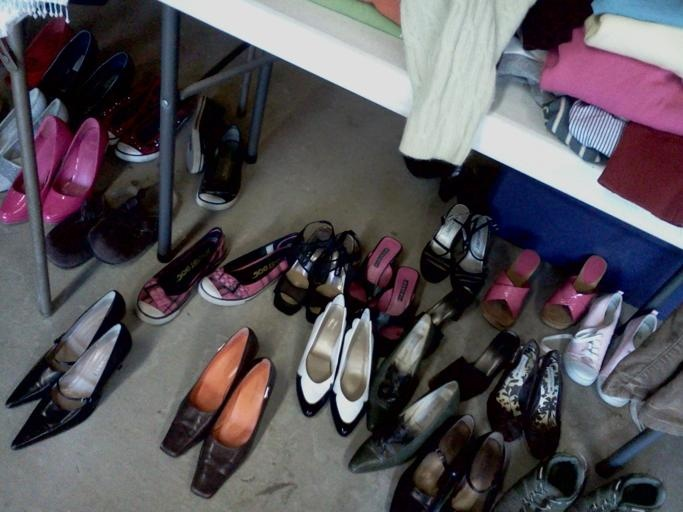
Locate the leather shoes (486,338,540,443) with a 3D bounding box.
[{"bbox_3d":[0.497,0.378,1.650,0.104,0.282,0.073,19,-11,26],"label":"leather shoes"}]

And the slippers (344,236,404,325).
[{"bbox_3d":[0.104,0.062,1.780,0.106,0.069,0.285,26,64,17],"label":"slippers"}]

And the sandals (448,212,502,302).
[{"bbox_3d":[0.414,0.008,1.817,0.104,0.305,0.073,14,-2,10],"label":"sandals"}]

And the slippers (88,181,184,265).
[{"bbox_3d":[-0.626,-0.091,1.752,0.149,0.078,0.331,40,56,-11],"label":"slippers"}]

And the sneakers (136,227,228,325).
[{"bbox_3d":[-0.459,0.070,1.701,0.135,0.124,0.372,39,62,5],"label":"sneakers"}]

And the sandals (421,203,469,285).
[{"bbox_3d":[0.328,-0.024,1.880,0.103,0.289,0.064,25,9,12],"label":"sandals"}]

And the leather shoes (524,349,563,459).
[{"bbox_3d":[0.575,0.391,1.611,0.105,0.091,0.322,-4,28,30],"label":"leather shoes"}]

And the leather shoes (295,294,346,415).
[{"bbox_3d":[-0.052,0.271,1.564,0.106,0.356,0.099,17,-11,7],"label":"leather shoes"}]

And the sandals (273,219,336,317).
[{"bbox_3d":[-0.123,0.056,1.745,0.117,0.370,0.099,25,8,12],"label":"sandals"}]

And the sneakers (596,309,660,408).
[{"bbox_3d":[0.734,0.270,1.487,0.086,0.257,0.097,31,5,15],"label":"sneakers"}]

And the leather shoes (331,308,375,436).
[{"bbox_3d":[0.038,0.312,1.582,0.093,0.330,0.084,11,-9,0],"label":"leather shoes"}]

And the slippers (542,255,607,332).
[{"bbox_3d":[0.738,0.110,1.792,0.104,0.278,0.070,39,-14,24],"label":"slippers"}]

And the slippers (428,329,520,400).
[{"bbox_3d":[0.391,0.315,1.661,0.310,0.078,0.109,-32,34,-14],"label":"slippers"}]

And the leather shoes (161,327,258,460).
[{"bbox_3d":[-0.318,0.325,1.543,0.117,0.412,0.104,29,-14,7],"label":"leather shoes"}]

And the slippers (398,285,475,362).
[{"bbox_3d":[0.324,0.218,1.774,0.089,0.127,0.357,-24,24,8],"label":"slippers"}]

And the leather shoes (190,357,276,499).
[{"bbox_3d":[-0.265,0.433,1.501,0.117,0.382,0.095,26,-15,1],"label":"leather shoes"}]

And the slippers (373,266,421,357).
[{"bbox_3d":[0.155,0.167,1.707,0.099,0.286,0.071,19,-17,7],"label":"slippers"}]

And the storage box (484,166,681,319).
[{"bbox_3d":[0.750,-0.046,1.906,0.575,0.363,0.145,37,-4,10],"label":"storage box"}]

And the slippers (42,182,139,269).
[{"bbox_3d":[-0.741,-0.106,1.755,0.126,0.363,0.094,42,-24,-15],"label":"slippers"}]

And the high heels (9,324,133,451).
[{"bbox_3d":[-0.676,0.348,1.487,0.135,0.427,0.093,36,-11,2],"label":"high heels"}]

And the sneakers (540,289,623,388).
[{"bbox_3d":[0.727,0.217,1.715,0.170,0.303,0.096,30,-19,14],"label":"sneakers"}]

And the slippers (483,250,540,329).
[{"bbox_3d":[0.535,0.088,1.796,0.110,0.077,0.298,29,64,20],"label":"slippers"}]
